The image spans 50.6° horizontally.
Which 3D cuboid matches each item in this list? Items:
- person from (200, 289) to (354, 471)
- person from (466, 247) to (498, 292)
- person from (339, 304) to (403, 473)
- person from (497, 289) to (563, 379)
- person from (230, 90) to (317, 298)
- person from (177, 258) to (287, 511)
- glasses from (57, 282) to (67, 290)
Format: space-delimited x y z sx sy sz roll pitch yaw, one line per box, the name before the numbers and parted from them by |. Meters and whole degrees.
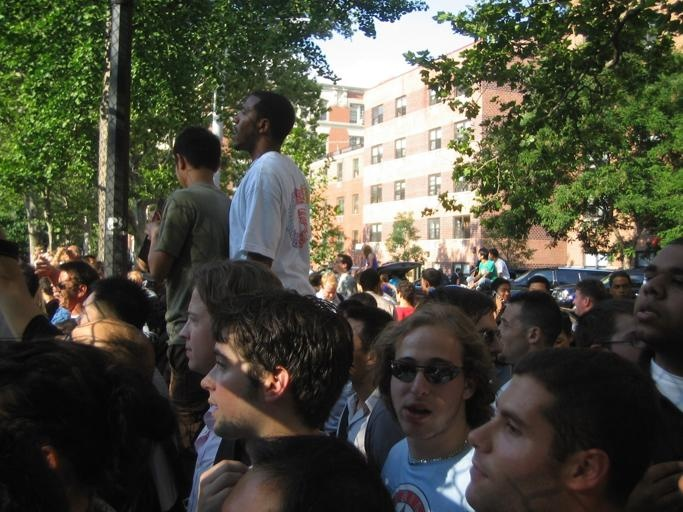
person | -0.196 0.658 3.775 0.684 0.972 0.600 9 -13 16
person | 3.676 0.347 19.124 0.799 1.075 0.798 -3 0 8
person | 0.181 0.827 4.399 0.386 0.857 0.651 6 -18 -14
person | 1.506 0.625 5.939 0.453 0.756 0.375 3 16 5
person | -0.500 -0.467 4.892 0.557 1.408 0.910 0 0 3
person | -0.527 0.614 3.561 0.345 1.081 1.005 5 -19 -6
glasses | -2.937 0.314 7.583 0.060 0.053 0.074 -1 3 -4
